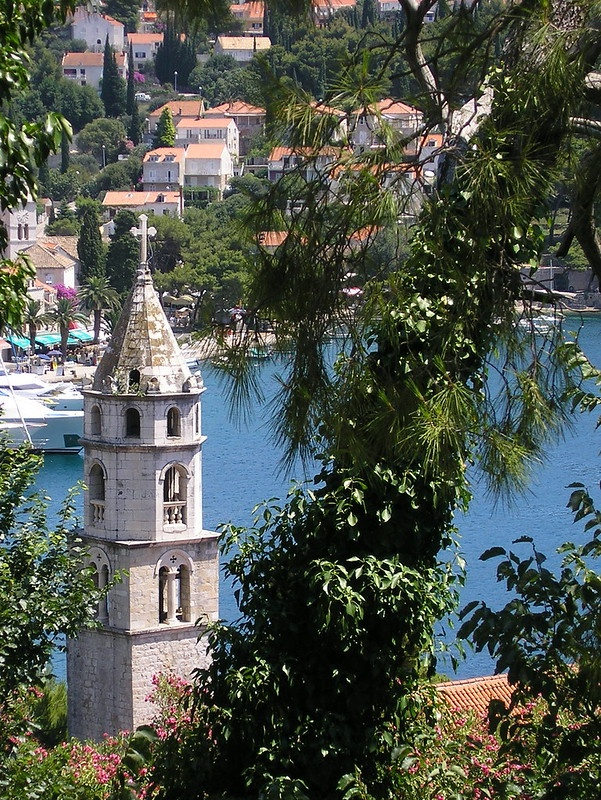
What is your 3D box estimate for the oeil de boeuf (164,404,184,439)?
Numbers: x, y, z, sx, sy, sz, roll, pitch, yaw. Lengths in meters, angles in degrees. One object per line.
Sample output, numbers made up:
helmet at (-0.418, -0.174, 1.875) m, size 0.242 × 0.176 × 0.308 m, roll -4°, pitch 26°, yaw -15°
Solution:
oeil de boeuf at (-1.201, 0.178, 18.667) m, size 0.194 × 0.537 × 0.051 m, roll 12°, pitch 17°, yaw 36°
